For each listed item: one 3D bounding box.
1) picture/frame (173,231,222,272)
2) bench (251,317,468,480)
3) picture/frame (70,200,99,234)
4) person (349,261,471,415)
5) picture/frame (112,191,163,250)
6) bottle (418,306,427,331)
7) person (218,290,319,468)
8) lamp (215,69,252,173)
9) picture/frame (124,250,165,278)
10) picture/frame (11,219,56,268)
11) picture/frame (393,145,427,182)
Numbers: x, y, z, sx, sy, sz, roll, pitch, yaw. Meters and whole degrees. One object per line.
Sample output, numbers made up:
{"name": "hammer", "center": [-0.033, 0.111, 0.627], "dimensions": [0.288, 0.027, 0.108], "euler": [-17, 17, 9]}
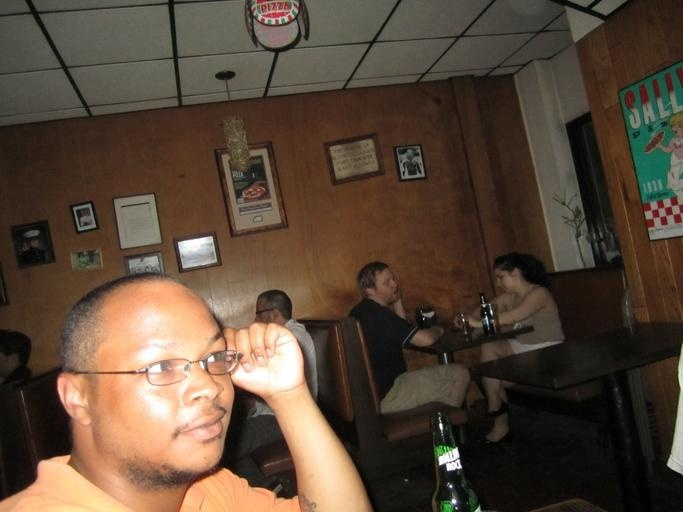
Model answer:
{"name": "picture/frame", "center": [-1.375, -0.031, 4.768], "dimensions": [0.307, 0.285, 0.024], "euler": [-13, -4, -19]}
{"name": "bench", "center": [0.022, 1.019, 3.331], "dimensions": [1.083, 0.868, 1.107], "euler": [-3, 0, -27]}
{"name": "picture/frame", "center": [-2.346, -0.342, 4.614], "dimensions": [0.209, 0.285, 0.034], "euler": [-18, 4, -20]}
{"name": "person", "center": [0.510, 0.784, 4.062], "dimensions": [0.804, 1.483, 0.676], "euler": [-8, 2, -11]}
{"name": "picture/frame", "center": [-1.906, -0.310, 4.696], "dimensions": [0.412, 0.552, 0.020], "euler": [-11, -4, -17]}
{"name": "bottle", "center": [0.726, 0.573, 4.547], "dimensions": [0.101, 0.202, 0.107], "euler": [-2, -9, 0]}
{"name": "person", "center": [-0.566, 0.782, 3.758], "dimensions": [0.606, 1.169, 0.437], "euler": [4, 21, 6]}
{"name": "lamp", "center": [-0.932, -1.140, 4.378], "dimensions": [0.198, 0.774, 0.773], "euler": [-8, 3, -10]}
{"name": "picture/frame", "center": [-1.644, 0.064, 4.185], "dimensions": [0.202, 0.216, 0.015], "euler": [-5, -18, -20]}
{"name": "picture/frame", "center": [-2.761, -0.093, 4.526], "dimensions": [0.308, 0.419, 0.027], "euler": [-15, -4, -18]}
{"name": "picture/frame", "center": [0.697, -0.955, 5.298], "dimensions": [0.302, 0.359, 0.027], "euler": [-12, -3, -26]}
